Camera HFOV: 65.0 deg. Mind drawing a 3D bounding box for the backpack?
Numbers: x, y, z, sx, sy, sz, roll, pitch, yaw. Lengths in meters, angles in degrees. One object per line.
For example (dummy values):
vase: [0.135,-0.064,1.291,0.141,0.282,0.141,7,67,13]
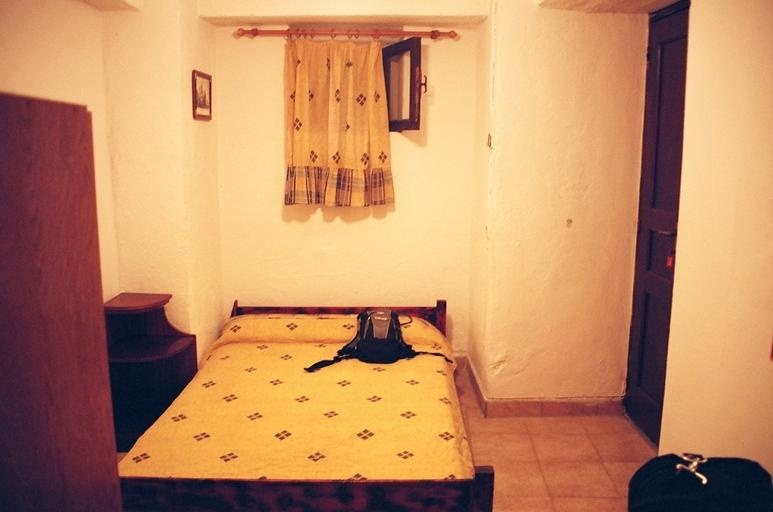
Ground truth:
backpack: [-0.057,0.580,4.586,0.579,0.199,0.616,0,19,2]
